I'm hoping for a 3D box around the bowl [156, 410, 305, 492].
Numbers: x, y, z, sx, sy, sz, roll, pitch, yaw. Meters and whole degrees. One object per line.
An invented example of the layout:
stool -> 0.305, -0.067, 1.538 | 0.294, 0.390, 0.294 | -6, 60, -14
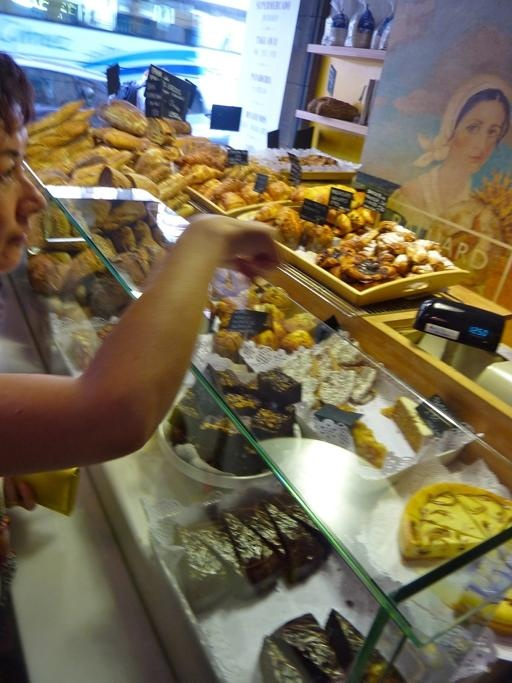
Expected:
bowl -> -0.067, 0.234, 0.861 | 0.201, 0.193, 0.040 | 9, 67, 34
